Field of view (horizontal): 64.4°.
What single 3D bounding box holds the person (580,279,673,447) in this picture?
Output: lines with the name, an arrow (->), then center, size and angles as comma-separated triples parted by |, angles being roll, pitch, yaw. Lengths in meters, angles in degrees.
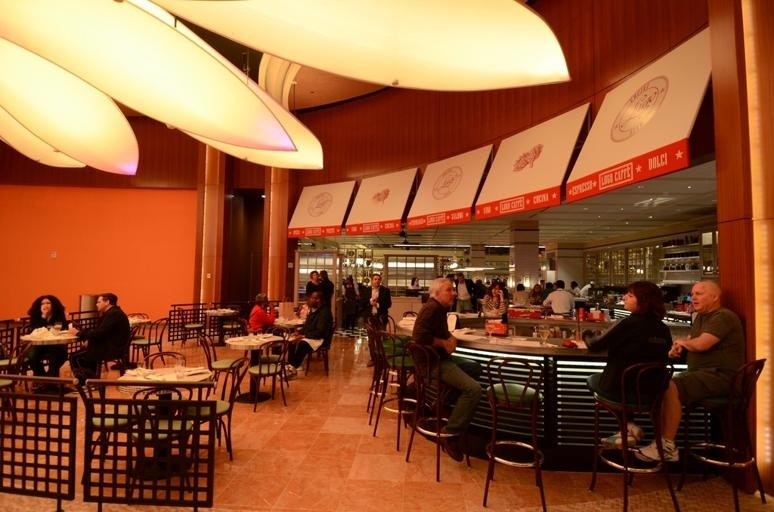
person -> 3.012, 1.352, 7.692 | 0.985, 2.076, 0.500 | -2, -3, 24

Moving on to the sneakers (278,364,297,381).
sneakers -> -1.778, 2.112, 11.212 | 0.235, 0.227, 0.549 | -3, -20, 16

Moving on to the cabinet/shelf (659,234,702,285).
cabinet/shelf -> 7.522, 0.066, 15.701 | 0.354, 1.116, 1.220 | 3, -9, 8

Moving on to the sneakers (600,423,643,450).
sneakers -> 2.979, 2.268, 7.725 | 0.228, 0.280, 0.658 | 2, -10, -19
